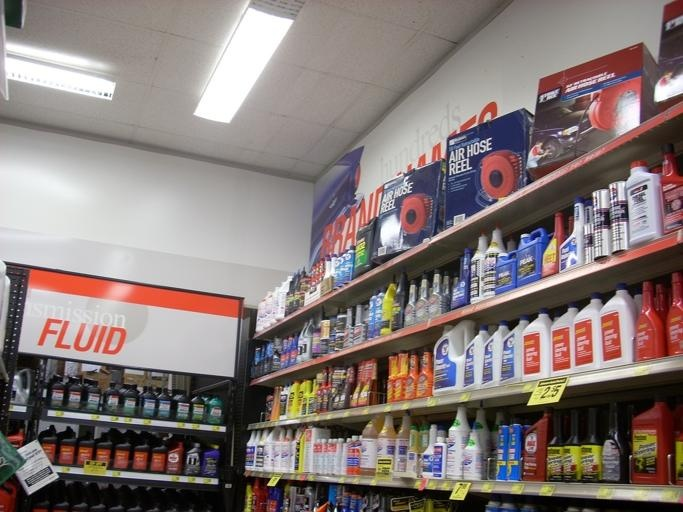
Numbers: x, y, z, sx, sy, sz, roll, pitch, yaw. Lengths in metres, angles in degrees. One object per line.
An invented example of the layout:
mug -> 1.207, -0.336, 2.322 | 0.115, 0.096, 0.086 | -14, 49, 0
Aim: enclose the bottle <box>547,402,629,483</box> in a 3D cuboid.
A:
bottle -> 1.209, 0.931, 2.946 | 0.134, 0.326, 0.412 | 28, -30, -30
